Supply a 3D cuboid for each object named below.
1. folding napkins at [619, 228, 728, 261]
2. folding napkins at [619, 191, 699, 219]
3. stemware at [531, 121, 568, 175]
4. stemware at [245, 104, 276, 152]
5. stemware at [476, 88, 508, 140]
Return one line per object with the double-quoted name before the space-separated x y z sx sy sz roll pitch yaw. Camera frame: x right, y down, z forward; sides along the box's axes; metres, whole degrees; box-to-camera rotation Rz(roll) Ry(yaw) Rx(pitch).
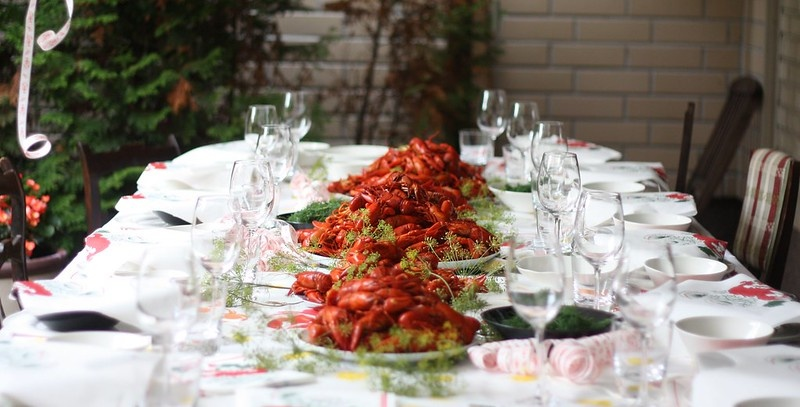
"folding napkins" 0.933 0.158 1.976 0.247 0.064 0.293 24 -17 -37
"folding napkins" 0.991 -0.002 2.253 0.187 0.043 0.187 -1 9 6
"stemware" 0.580 -0.215 2.298 0.157 0.206 0.143 3 17 16
"stemware" -0.596 -0.318 2.585 0.155 0.212 0.155 1 10 -31
"stemware" 0.468 -0.446 2.979 0.139 0.247 0.203 9 12 36
